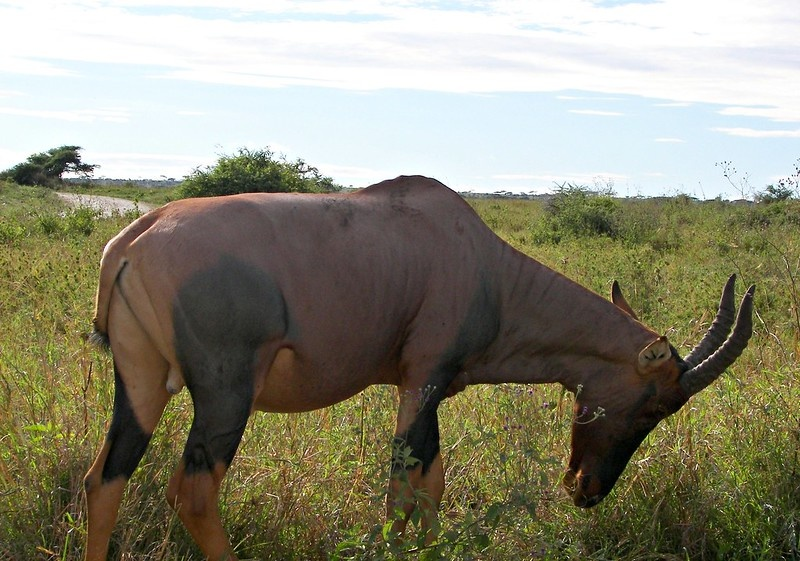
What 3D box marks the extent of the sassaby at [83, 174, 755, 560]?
[{"bbox_3d":[0.787,0.406,7.200,6.794,4.570,2.098,-1,2,-14],"label":"sassaby"}]
